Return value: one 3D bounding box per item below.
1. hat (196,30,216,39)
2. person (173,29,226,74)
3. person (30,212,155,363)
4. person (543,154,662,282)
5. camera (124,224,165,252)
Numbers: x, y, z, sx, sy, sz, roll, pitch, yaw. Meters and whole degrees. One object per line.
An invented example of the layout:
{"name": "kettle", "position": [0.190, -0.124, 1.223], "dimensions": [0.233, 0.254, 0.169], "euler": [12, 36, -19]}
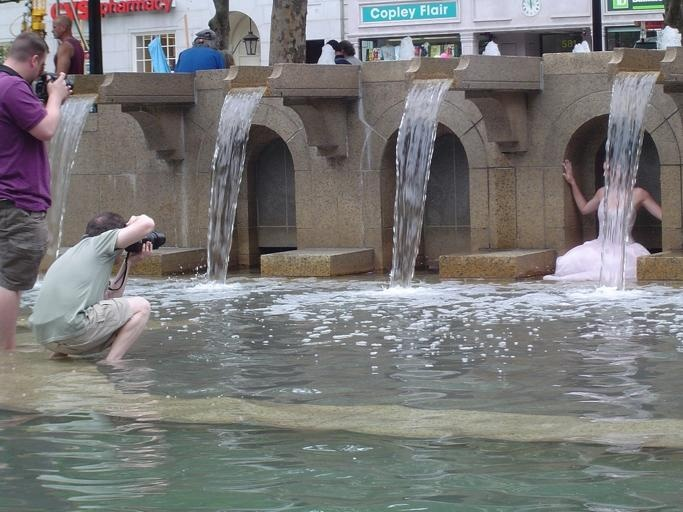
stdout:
{"name": "hat", "position": [-2.015, -3.316, 16.541], "dimensions": [0.292, 0.105, 0.184], "euler": [2, 1, -15]}
{"name": "person", "position": [-2.067, -2.983, 16.147], "dimensions": [0.719, 0.714, 0.975], "euler": [-2, 3, -6]}
{"name": "person", "position": [-1.892, 0.231, 8.395], "dimensions": [0.916, 1.123, 0.717], "euler": [-2, 3, -13]}
{"name": "person", "position": [3.133, -0.486, 13.463], "dimensions": [1.301, 1.451, 1.315], "euler": [-1, 3, 16]}
{"name": "camera", "position": [-1.505, -0.143, 8.471], "dimensions": [0.129, 0.115, 0.355], "euler": [-7, 13, 37]}
